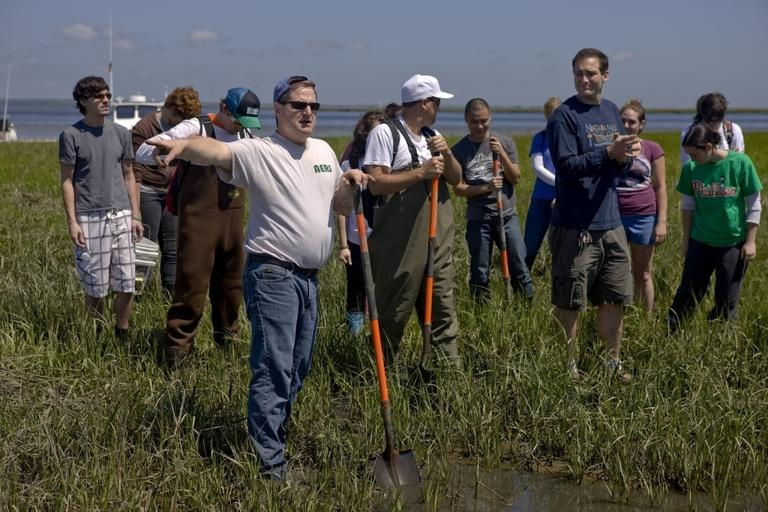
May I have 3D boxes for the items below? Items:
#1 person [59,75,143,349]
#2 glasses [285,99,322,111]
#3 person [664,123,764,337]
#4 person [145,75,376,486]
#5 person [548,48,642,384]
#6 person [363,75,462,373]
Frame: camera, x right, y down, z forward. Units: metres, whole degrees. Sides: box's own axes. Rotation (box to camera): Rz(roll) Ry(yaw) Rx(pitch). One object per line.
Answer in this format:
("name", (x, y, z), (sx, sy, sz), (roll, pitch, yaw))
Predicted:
("person", (-2.888, -0.487, 7.922), (0.748, 2.609, 0.490), (-2, 8, -20))
("glasses", (-0.641, -1.199, 6.229), (0.281, 0.085, 0.107), (-5, 10, -33))
("person", (3.573, -0.365, 8.343), (0.816, 2.058, 0.557), (4, 8, 22))
("person", (-0.844, 0.182, 6.270), (1.411, 3.207, 0.595), (-2, 8, -16))
("person", (1.978, -0.386, 7.478), (0.859, 3.139, 0.643), (2, 8, 12))
("person", (0.343, -0.170, 7.165), (0.913, 2.941, 0.867), (-6, 14, -16))
